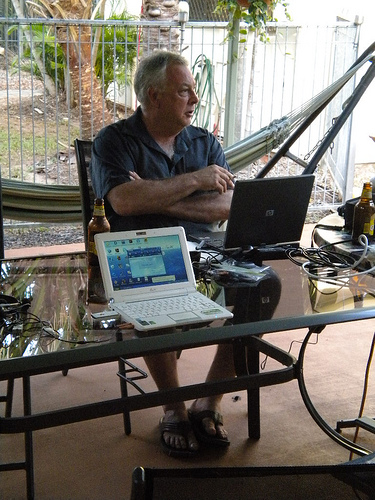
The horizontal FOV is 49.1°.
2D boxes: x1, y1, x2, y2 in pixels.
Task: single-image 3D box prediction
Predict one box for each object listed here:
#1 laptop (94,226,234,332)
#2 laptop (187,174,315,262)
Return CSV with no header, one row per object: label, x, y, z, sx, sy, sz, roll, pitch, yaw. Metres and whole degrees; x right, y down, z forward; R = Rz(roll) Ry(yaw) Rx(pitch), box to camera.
laptop,-0.063,0.055,0.950,0.241,0.166,0.268,-5,15,-25
laptop,0.216,-0.155,1.463,0.384,0.263,0.312,-6,16,-28
